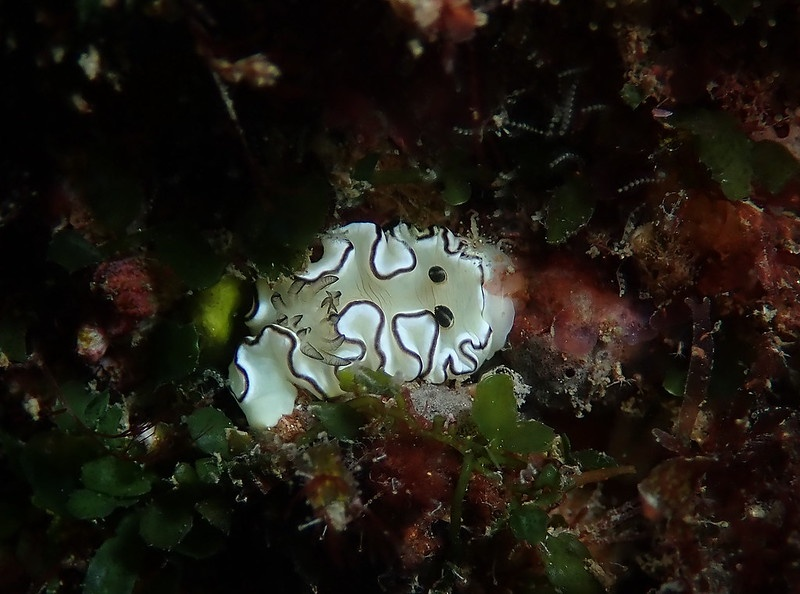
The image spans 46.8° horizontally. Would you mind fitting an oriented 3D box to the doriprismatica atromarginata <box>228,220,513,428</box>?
[{"bbox_3d":[-0.146,0.060,4.206,1.343,0.234,0.809,-13,85,-3],"label":"doriprismatica atromarginata"}]
